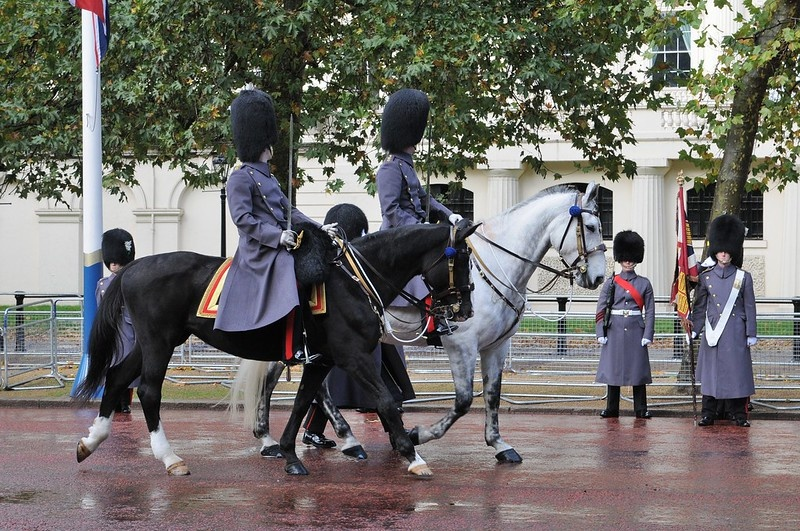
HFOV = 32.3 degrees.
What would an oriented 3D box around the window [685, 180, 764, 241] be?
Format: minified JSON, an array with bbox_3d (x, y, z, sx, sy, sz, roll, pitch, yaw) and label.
[{"bbox_3d":[6.717,-1.131,28.562,2.195,1.293,0.094,0,1,6],"label":"window"}]

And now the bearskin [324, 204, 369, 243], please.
[{"bbox_3d":[-0.790,-0.645,19.986,0.534,0.555,0.647,-1,-3,-2],"label":"bearskin"}]

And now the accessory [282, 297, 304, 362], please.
[{"bbox_3d":[-1.432,0.908,18.293,0.263,0.741,0.106,1,3,29],"label":"accessory"}]

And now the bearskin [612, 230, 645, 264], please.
[{"bbox_3d":[3.807,-0.231,22.736,0.612,0.649,0.757,5,-3,17],"label":"bearskin"}]

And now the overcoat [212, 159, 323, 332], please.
[{"bbox_3d":[-1.907,-0.254,18.341,1.086,2.253,0.763,0,3,2],"label":"overcoat"}]

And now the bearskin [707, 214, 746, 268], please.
[{"bbox_3d":[5.406,-0.402,22.481,0.795,0.864,1.201,5,9,18],"label":"bearskin"}]

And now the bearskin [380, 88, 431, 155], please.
[{"bbox_3d":[-0.023,-2.115,19.831,0.698,0.876,0.908,10,35,7],"label":"bearskin"}]

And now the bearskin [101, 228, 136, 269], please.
[{"bbox_3d":[-4.655,-0.298,22.800,0.573,0.674,0.733,-10,15,-34],"label":"bearskin"}]

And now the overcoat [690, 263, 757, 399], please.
[{"bbox_3d":[5.091,1.070,21.784,0.957,2.141,0.643,0,3,12],"label":"overcoat"}]
